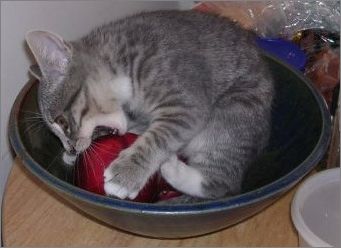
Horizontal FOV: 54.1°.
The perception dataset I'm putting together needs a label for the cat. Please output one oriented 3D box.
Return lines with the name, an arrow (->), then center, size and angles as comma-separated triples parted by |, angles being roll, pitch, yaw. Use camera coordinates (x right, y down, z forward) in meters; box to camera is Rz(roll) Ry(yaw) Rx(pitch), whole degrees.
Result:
cat -> -0.019, -0.048, 0.626 | 0.420, 0.264, 0.271 | -12, 21, -16
